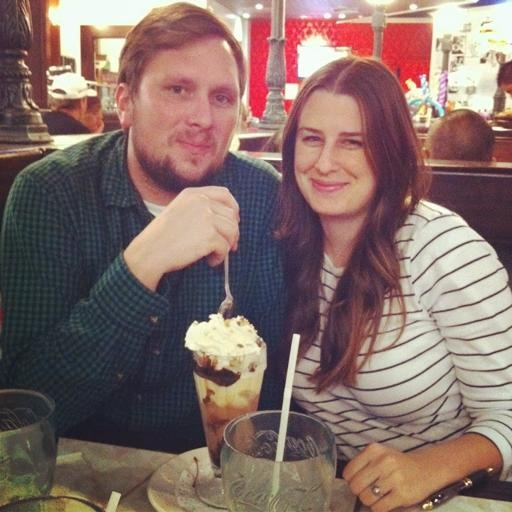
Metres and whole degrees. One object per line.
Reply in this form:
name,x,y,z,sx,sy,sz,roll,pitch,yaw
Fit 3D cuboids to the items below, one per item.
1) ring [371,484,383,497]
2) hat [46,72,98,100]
ring,0.235,0.460,1.029,0.014,0.023,0.023,6,18,26
hat,-1.946,-1.709,5.386,0.414,0.168,0.455,-11,14,-42
